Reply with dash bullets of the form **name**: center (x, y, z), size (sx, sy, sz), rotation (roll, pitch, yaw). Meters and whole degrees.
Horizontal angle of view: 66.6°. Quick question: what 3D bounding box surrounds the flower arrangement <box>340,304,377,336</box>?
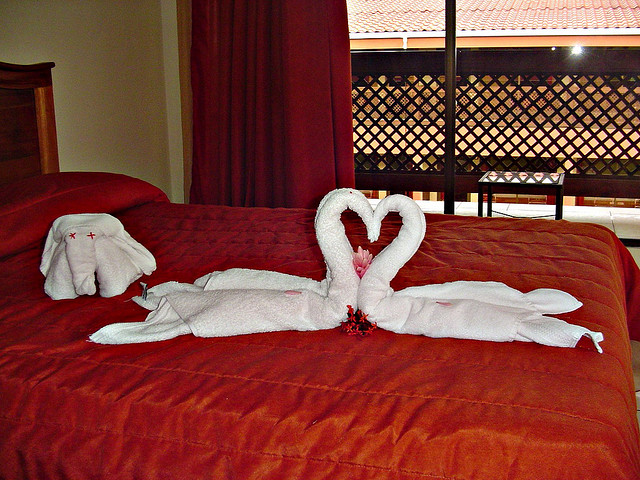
- **flower arrangement**: center (0.096, 0.224, 1.305), size (0.110, 0.036, 0.094), rotation (5, 35, 35)
